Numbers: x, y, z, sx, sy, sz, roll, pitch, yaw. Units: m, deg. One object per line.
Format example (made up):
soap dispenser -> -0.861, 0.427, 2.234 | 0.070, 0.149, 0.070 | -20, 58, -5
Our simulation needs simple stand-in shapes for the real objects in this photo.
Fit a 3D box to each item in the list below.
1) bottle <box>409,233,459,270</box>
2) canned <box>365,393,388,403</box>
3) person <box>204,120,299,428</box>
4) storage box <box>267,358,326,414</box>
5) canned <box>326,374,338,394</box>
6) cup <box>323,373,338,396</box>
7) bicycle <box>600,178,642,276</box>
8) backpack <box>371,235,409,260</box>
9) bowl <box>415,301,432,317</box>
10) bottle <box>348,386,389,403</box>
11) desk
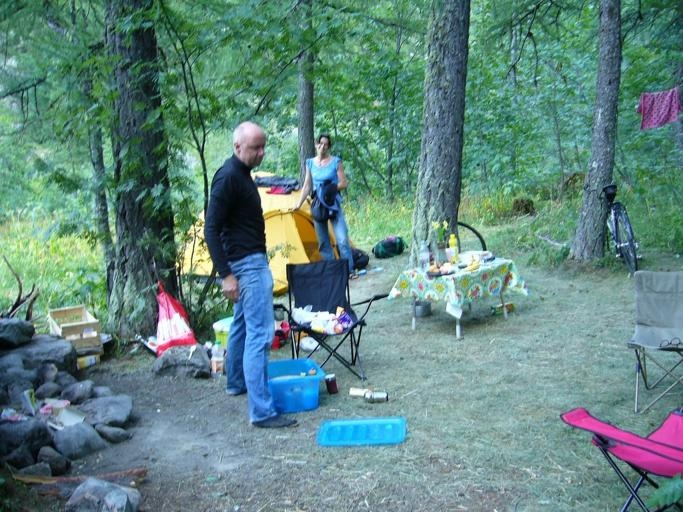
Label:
bottle -> 1.107, -0.016, 8.359 | 0.403, 0.448, 0.453 | -1, -2, 0
canned -> 0.328, 1.335, 6.658 | 0.171, 0.077, 0.096 | -1, 36, 9
person -> -0.856, 0.171, 6.512 | 0.664, 2.770, 0.638 | -5, 6, 4
storage box -> -0.512, 1.167, 7.018 | 0.655, 0.436, 0.925 | 0, 20, -8
canned -> -0.096, 1.249, 6.925 | 0.115, 0.186, 0.160 | -6, 7, -2
cup -> -0.099, 1.252, 6.860 | 0.150, 0.242, 0.157 | -12, -2, -1
bicycle -> 3.599, -0.331, 8.997 | 0.284, 1.160, 0.905 | -4, 7, 12
backpack -> 0.847, -0.149, 12.070 | 0.430, 0.254, 0.335 | -20, 5, -33
bowl -> 1.005, 0.656, 8.645 | 0.163, 0.123, 0.181 | -1, 7, 9
bottle -> 0.262, 1.319, 6.762 | 0.392, 0.158, 0.141 | 6, 5, 21
desk -> 1.404, 0.456, 8.351 | 1.247, 0.752, 1.175 | -12, 12, -33
